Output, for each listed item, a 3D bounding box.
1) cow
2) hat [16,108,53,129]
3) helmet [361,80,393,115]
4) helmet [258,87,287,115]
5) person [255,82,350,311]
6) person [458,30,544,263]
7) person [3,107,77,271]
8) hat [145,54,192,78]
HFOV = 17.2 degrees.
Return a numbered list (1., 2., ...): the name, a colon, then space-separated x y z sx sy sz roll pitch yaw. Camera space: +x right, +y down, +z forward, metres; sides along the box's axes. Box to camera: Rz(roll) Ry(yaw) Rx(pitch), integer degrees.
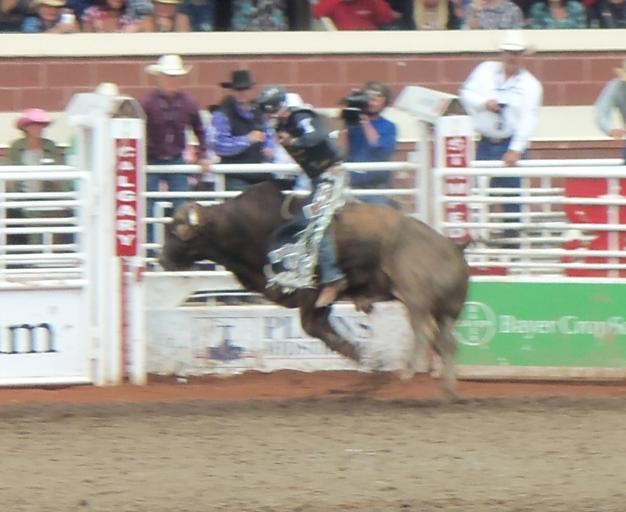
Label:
1. cow: 0.082 0.145 15.261 2.839 1.350 0.743 7 7 29
2. hat: -2.225 -1.108 16.479 0.281 0.083 0.249 1 -20 -33
3. helmet: 0.460 -1.263 15.838 0.292 0.277 0.326 10 14 -4
4. helmet: -0.297 -1.126 14.729 0.209 0.187 0.146 -2 13 -1
5. person: -0.065 -0.441 14.709 0.606 1.530 0.391 -3 14 0
6. person: 1.502 -0.916 16.217 0.623 1.676 1.354 -2 13 2
7. person: -2.124 -0.495 15.812 0.528 1.170 1.196 -4 13 -8
8. hat: -1.141 -1.459 15.900 0.343 0.109 0.302 -3 -2 18
